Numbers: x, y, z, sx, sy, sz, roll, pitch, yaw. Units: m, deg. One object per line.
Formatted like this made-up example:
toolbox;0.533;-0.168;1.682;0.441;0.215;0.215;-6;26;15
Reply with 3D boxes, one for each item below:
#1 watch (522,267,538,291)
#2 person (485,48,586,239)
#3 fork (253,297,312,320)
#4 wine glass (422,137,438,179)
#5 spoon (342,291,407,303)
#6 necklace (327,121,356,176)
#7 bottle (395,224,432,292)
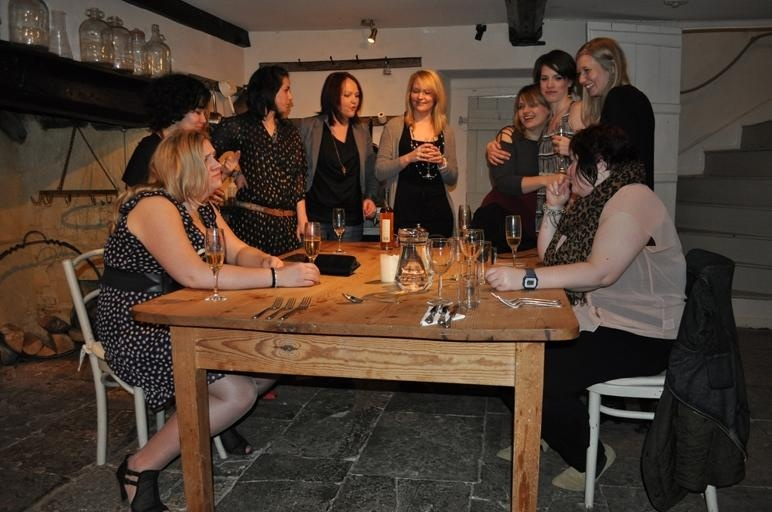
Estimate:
watch;0.665;0.112;2.607;0.061;0.092;0.097;4;3;6
person;1.000;-0.730;3.604;0.649;1.143;0.612;8;-4;-14
fork;-0.429;0.225;2.332;0.085;0.026;0.164;5;19;22
wine glass;0.335;-0.723;4.180;0.161;0.293;0.102;-5;15;-13
spoon;-0.032;0.180;2.497;0.342;0.048;0.087;1;11;-31
necklace;-0.357;-0.803;4.257;0.119;0.320;0.039;-23;5;-23
bottle;0.130;0.026;2.670;0.214;0.299;0.210;-2;7;0
